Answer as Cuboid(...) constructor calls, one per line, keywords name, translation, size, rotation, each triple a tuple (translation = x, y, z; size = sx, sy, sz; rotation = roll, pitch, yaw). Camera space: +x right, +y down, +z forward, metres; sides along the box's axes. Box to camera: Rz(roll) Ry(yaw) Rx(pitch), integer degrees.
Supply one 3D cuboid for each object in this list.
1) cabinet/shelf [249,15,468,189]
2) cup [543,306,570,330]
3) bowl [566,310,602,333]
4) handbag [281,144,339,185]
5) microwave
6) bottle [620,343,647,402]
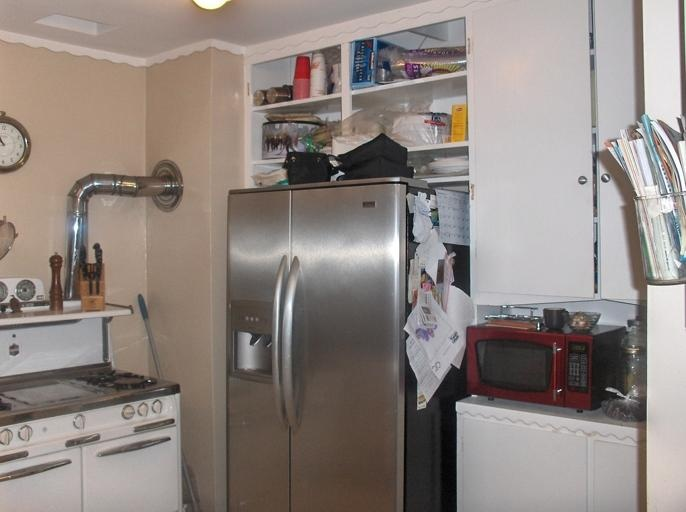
Cuboid(name="cabinet/shelf", translation=(0.109, -0.871, 3.805), size=(1.473, 0.958, 0.439), rotation=(-2, 3, 32))
Cuboid(name="cup", translation=(1.081, 0.325, 3.129), size=(0.082, 0.097, 0.131), rotation=(-2, -3, 32))
Cuboid(name="bowl", translation=(1.218, 0.327, 3.125), size=(0.163, 0.100, 0.140), rotation=(-4, 3, -6))
Cuboid(name="handbag", translation=(-0.170, -0.504, 3.420), size=(0.226, 0.084, 0.233), rotation=(1, 35, -1))
Cuboid(name="microwave", translation=(1.093, 0.426, 3.198), size=(0.611, 0.361, 0.424), rotation=(-2, -4, 39))
Cuboid(name="bottle", translation=(1.399, 0.557, 2.970), size=(0.099, 0.232, 0.097), rotation=(-3, 2, 0))
